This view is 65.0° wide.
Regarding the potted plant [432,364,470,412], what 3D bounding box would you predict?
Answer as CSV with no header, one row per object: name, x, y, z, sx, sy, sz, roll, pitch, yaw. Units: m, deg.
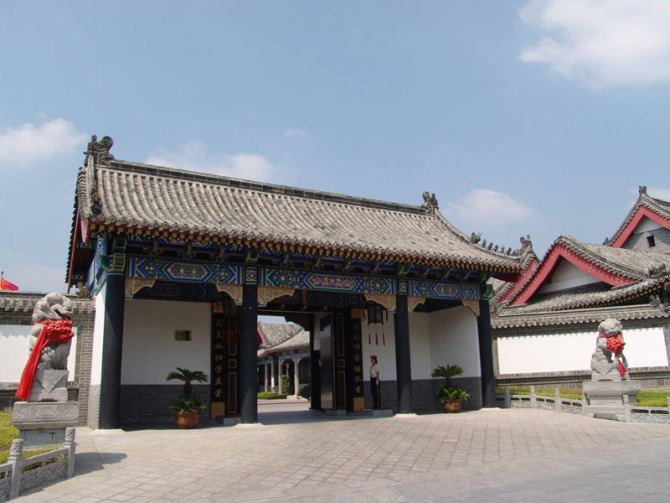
potted plant,4.046,4.585,17.458,1.411,1.506,1.350,8,-20,-18

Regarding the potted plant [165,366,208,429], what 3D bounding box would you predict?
potted plant,-4.010,3.919,14.273,1.139,1.475,2.027,2,-10,-16

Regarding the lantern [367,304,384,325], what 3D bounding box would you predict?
lantern,1.357,2.099,17.721,0.518,0.651,0.955,-1,-10,2
